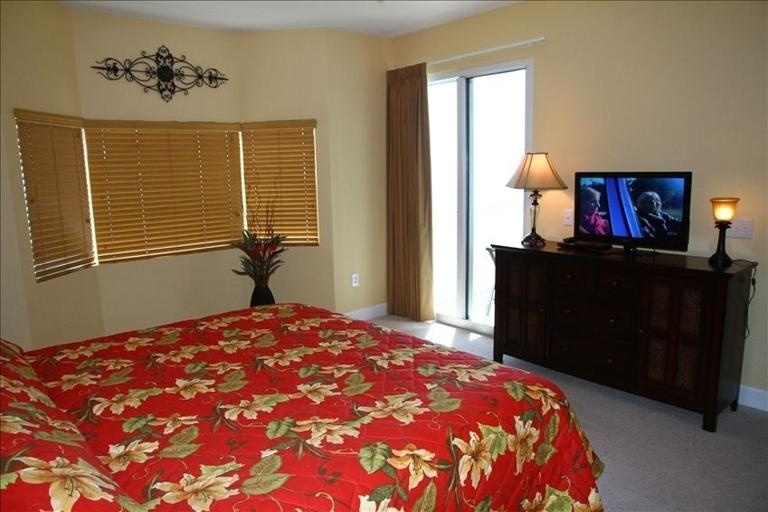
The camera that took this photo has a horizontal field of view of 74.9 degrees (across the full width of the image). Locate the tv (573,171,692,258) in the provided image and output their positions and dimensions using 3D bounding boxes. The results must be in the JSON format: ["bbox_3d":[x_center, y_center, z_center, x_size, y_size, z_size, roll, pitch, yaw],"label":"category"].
[{"bbox_3d":[2.028,-0.335,4.023,0.697,0.488,0.078,7,12,40],"label":"tv"}]

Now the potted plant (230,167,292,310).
[{"bbox_3d":[-1.298,-0.152,5.187,0.566,1.381,0.865,-3,12,-12],"label":"potted plant"}]

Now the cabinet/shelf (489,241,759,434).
[{"bbox_3d":[1.816,0.567,4.600,0.644,1.236,2.034,-4,5,-18],"label":"cabinet/shelf"}]

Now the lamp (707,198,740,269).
[{"bbox_3d":[2.467,-0.176,3.672,0.175,0.484,0.396,7,14,32],"label":"lamp"}]

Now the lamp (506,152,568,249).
[{"bbox_3d":[1.384,-0.525,4.549,0.487,0.817,0.599,7,14,32],"label":"lamp"}]
